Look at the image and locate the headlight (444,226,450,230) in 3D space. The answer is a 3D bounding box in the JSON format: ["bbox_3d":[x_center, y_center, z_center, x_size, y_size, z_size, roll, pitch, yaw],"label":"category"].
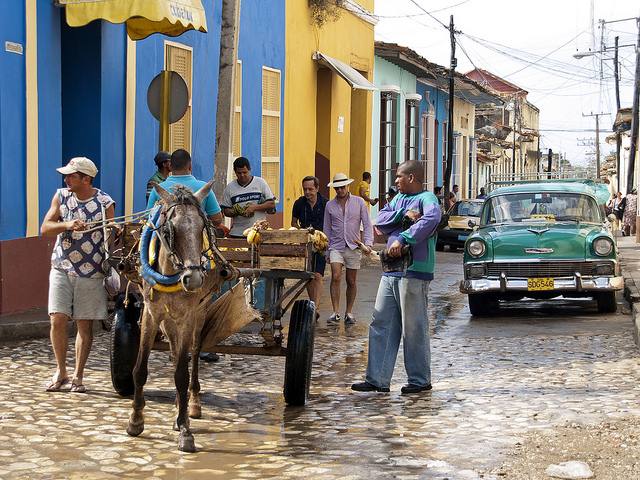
[{"bbox_3d":[3.525,-0.358,27.403,0.104,0.093,0.028,-3,-20,21],"label":"headlight"}]

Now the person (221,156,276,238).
[{"bbox_3d":[-0.950,-0.572,12.860,0.655,1.013,0.486,-3,7,-23],"label":"person"}]

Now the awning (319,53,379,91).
[{"bbox_3d":[0.739,-4.013,23.976,1.036,0.535,2.191,19,10,19],"label":"awning"}]

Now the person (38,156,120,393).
[{"bbox_3d":[-2.466,0.304,10.180,0.761,2.310,1.097,-2,7,-15],"label":"person"}]

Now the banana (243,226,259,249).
[{"bbox_3d":[-0.673,-0.049,9.711,0.123,0.088,0.300,-13,13,-4],"label":"banana"}]

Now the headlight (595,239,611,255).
[{"bbox_3d":[4.036,0.077,14.106,0.214,0.201,0.206,1,-3,1],"label":"headlight"}]

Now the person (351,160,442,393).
[{"bbox_3d":[0.839,0.368,10.187,0.782,2.370,0.568,0,7,5],"label":"person"}]

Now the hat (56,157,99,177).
[{"bbox_3d":[-2.429,-0.716,9.903,0.334,0.159,0.200,10,1,-20],"label":"hat"}]

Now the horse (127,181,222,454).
[{"bbox_3d":[-1.295,0.615,8.743,0.858,2.253,1.248,-1,7,-6],"label":"horse"}]

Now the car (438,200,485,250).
[{"bbox_3d":[4.273,-0.660,28.295,1.309,1.099,2.446,4,14,15],"label":"car"}]
